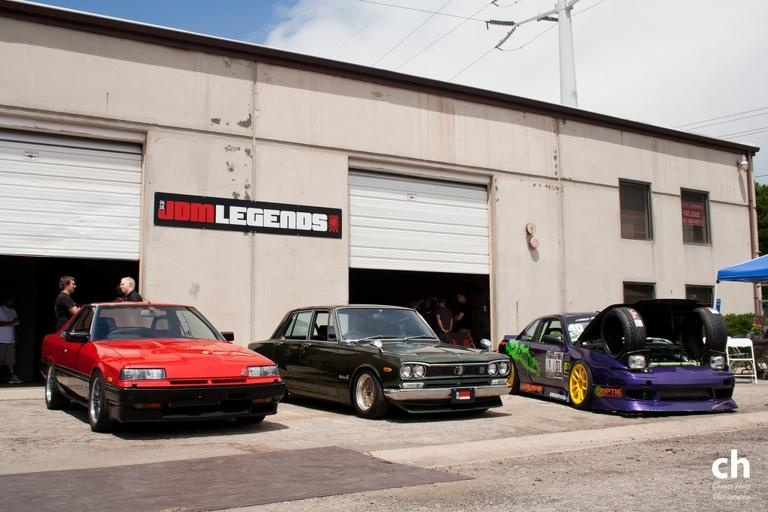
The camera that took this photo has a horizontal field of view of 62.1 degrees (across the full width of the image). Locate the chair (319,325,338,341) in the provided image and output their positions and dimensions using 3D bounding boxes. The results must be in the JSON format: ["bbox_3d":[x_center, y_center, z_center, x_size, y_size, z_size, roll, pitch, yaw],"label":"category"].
[{"bbox_3d":[-1.064,1.421,11.730,0.286,0.287,0.281,1,18,-5],"label":"chair"}]

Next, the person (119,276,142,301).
[{"bbox_3d":[-5.032,0.684,12.586,0.463,0.612,0.806,5,-7,-28],"label":"person"}]

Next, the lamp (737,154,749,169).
[{"bbox_3d":[13.417,-3.483,23.829,0.551,0.538,0.212,2,-3,-37],"label":"lamp"}]
